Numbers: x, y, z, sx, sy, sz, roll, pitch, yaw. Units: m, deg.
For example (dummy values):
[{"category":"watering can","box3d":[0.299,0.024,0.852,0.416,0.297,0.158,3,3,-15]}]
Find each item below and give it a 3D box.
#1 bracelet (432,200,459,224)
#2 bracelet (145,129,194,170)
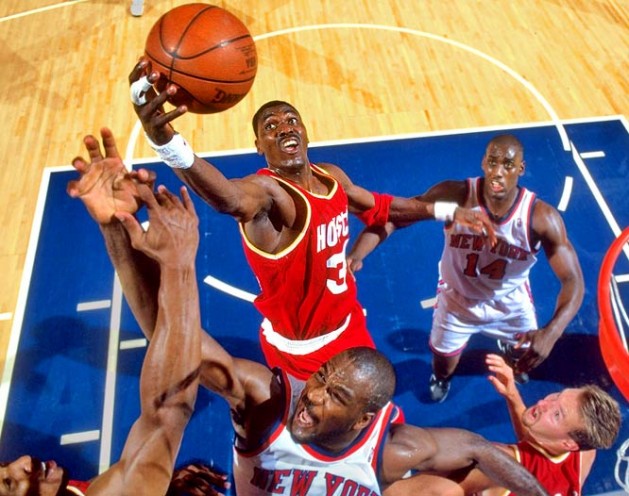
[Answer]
[{"category":"bracelet","box3d":[1.174,-0.330,5.639,0.188,0.222,0.079,2,-2,5]},{"category":"bracelet","box3d":[-0.939,-0.638,4.167,0.299,0.230,0.161,-7,18,-9]}]
